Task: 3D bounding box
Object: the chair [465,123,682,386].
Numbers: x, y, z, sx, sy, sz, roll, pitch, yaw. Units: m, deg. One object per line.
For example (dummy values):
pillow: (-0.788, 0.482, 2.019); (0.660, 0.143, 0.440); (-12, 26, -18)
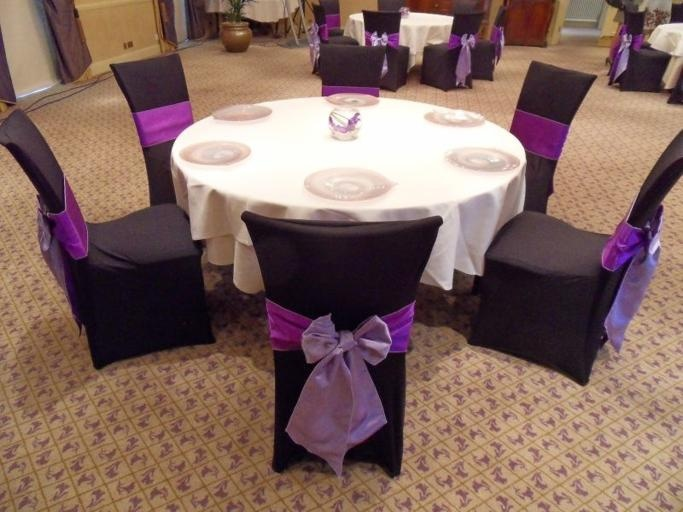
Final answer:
chair: (1.157, 0.032, 2.583); (0.829, 1.319, 0.732); (29, 53, 24)
